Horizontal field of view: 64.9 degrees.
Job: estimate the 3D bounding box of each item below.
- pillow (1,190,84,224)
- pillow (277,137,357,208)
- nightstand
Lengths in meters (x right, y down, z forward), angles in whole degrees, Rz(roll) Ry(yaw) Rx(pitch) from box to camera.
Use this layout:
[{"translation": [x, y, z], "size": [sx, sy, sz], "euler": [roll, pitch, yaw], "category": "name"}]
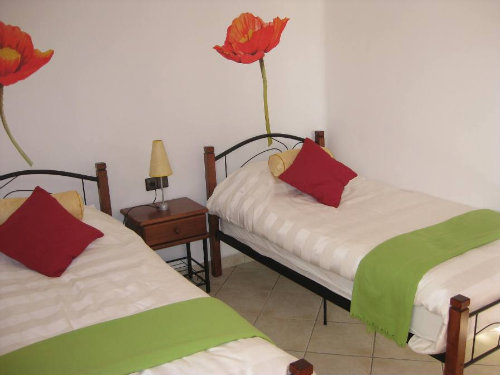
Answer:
[{"translation": [-1.412, 0.109, 2.670], "size": [0.437, 0.151, 0.260], "euler": [-6, 4, -36], "category": "pillow"}, {"translation": [0.553, -0.060, 3.517], "size": [0.769, 0.207, 0.819], "euler": [-13, 14, -6], "category": "pillow"}, {"translation": [-0.700, 0.568, 3.426], "size": [0.635, 0.794, 0.532], "euler": [-13, 17, -35], "category": "nightstand"}]
